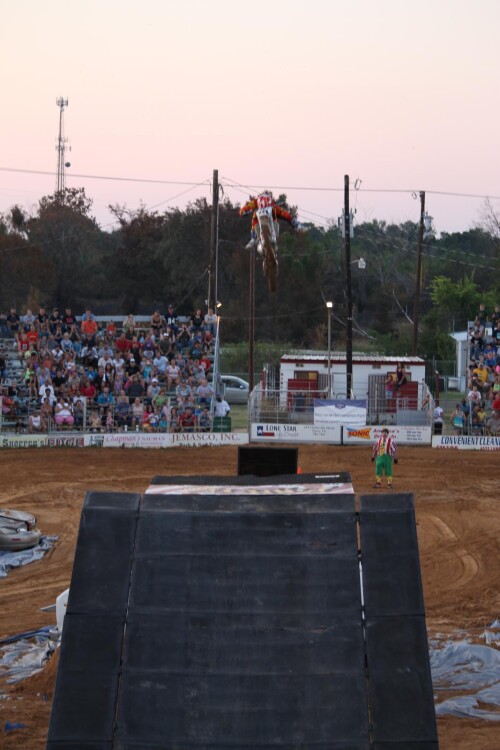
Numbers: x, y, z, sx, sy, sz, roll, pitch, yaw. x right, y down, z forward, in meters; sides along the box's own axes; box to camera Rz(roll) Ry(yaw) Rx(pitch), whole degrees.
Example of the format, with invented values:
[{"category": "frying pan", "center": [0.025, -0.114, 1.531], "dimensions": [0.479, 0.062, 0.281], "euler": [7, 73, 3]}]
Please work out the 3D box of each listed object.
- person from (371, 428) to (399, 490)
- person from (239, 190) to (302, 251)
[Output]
[{"category": "person", "center": [2.781, 1.632, 22.848], "dimensions": [0.401, 1.408, 0.382], "euler": [3, 32, 9]}, {"category": "person", "center": [0.211, -2.243, 15.891], "dimensions": [0.721, 0.378, 1.182], "euler": [5, -37, 1]}]
